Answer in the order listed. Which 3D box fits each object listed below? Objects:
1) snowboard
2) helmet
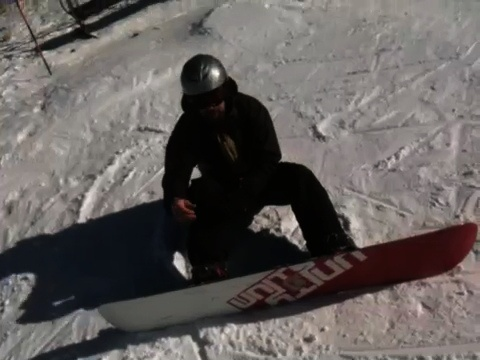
[{"bbox_3d":[0.631,1.041,5.880,3.605,0.599,0.211,-12,22,12],"label":"snowboard"},{"bbox_3d":[-0.370,-1.027,5.588,0.362,0.351,0.400,-25,27,7],"label":"helmet"}]
